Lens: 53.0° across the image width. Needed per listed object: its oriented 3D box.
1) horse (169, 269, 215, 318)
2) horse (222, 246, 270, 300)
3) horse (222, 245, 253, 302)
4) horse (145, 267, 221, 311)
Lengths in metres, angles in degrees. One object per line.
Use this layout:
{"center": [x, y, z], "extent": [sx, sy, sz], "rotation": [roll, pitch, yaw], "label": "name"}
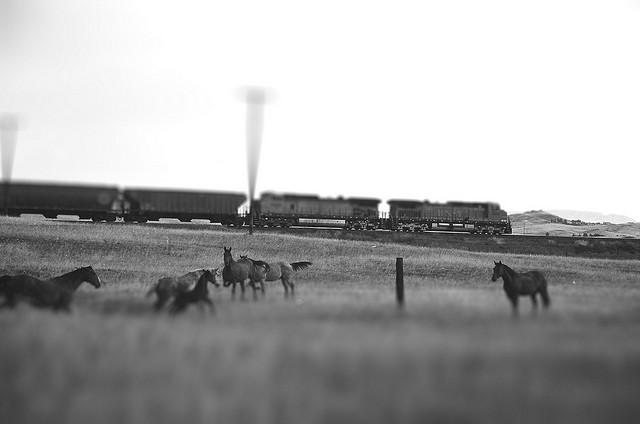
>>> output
{"center": [-4.621, 2.846, 23.101], "extent": [1.477, 1.571, 0.810], "rotation": [-1, -7, 26], "label": "horse"}
{"center": [-3.082, 2.475, 25.246], "extent": [1.911, 1.895, 0.724], "rotation": [7, -8, -40], "label": "horse"}
{"center": [-3.390, 2.471, 25.250], "extent": [1.341, 2.051, 1.242], "rotation": [6, -8, -34], "label": "horse"}
{"center": [-5.206, 3.005, 24.591], "extent": [2.773, 1.965, 0.740], "rotation": [-10, 20, -29], "label": "horse"}
